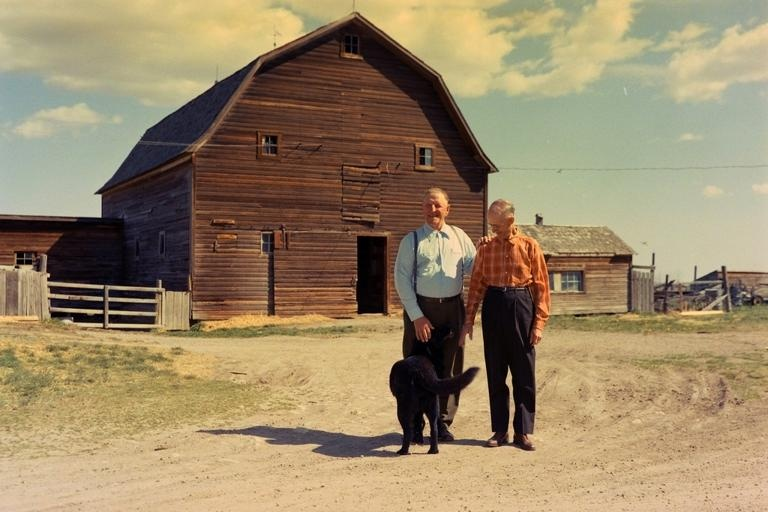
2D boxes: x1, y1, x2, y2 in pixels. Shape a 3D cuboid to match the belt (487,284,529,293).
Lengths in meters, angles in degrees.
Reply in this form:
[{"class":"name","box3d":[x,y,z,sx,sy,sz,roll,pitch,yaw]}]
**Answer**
[{"class":"belt","box3d":[2.168,0.563,15.184,0.689,0.118,0.130,2,11,8]}]
